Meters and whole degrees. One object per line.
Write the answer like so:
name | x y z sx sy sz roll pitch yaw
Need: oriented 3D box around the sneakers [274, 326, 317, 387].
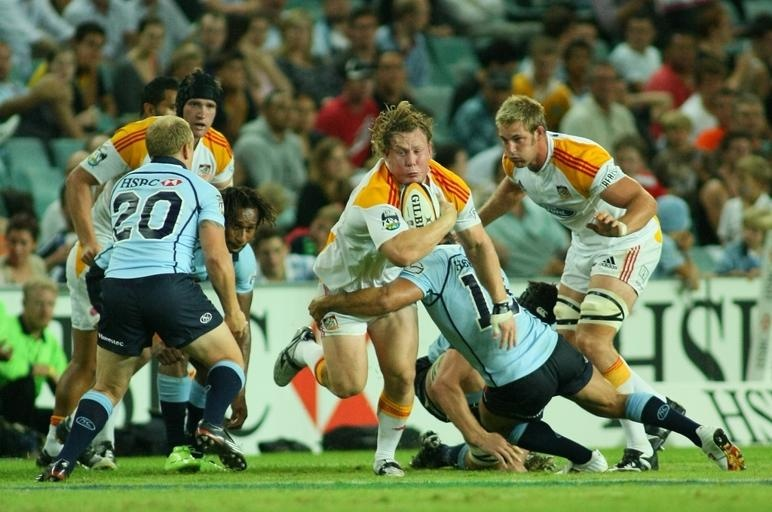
sneakers | -1.005 1.158 13.511 0.229 0.692 0.270 31 2 34

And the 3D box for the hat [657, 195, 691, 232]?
hat | 4.012 -0.590 16.649 0.546 0.542 0.846 0 3 12
